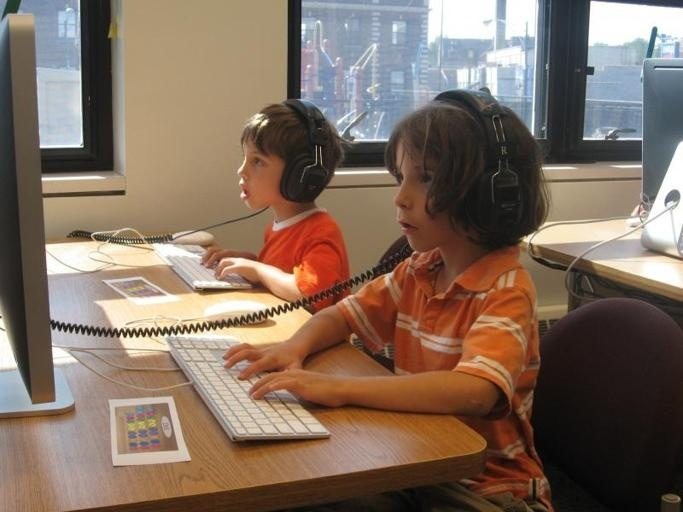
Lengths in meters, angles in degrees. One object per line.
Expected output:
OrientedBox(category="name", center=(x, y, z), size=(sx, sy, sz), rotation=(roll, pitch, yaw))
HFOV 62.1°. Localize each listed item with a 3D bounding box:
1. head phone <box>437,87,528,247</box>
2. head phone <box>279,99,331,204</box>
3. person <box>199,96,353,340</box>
OrientedBox(category="head phone", center=(0.327, -0.167, 1.176), size=(0.087, 0.286, 0.286), rotation=(-7, -4, 12))
OrientedBox(category="head phone", center=(-0.119, -0.322, 1.762), size=(0.136, 0.359, 0.330), rotation=(1, 3, -22))
OrientedBox(category="person", center=(-0.212, -0.184, 1.833), size=(0.516, 0.756, 0.728), rotation=(0, 7, -17))
